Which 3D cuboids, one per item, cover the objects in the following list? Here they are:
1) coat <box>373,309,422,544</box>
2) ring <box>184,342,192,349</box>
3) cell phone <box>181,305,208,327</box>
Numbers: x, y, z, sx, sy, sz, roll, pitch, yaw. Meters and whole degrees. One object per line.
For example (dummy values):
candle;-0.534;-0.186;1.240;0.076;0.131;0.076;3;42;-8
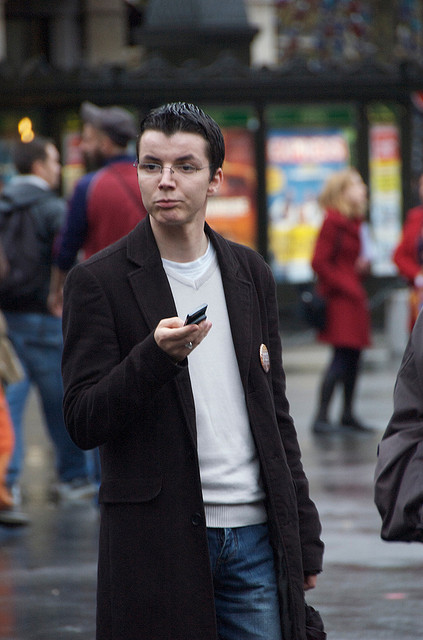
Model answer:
coat;0.485;0.298;2.664;0.114;0.626;0.258;1;5;9
ring;-0.044;0.050;2.129;0.009;0.012;0.004;8;37;5
cell phone;-0.034;-0.010;2.174;0.050;0.007;0.068;-32;-11;-10
